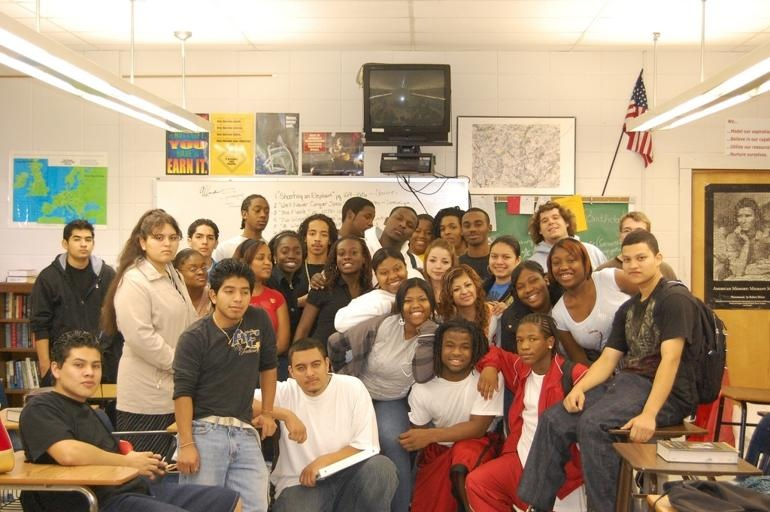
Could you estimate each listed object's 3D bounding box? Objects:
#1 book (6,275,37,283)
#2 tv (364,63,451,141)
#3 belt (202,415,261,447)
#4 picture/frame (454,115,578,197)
[{"bbox_3d":[-4.028,0.258,7.720,0.233,0.051,0.225,0,-1,1],"label":"book"},{"bbox_3d":[0.141,-1.661,7.695,1.069,0.850,0.478,-6,12,-24],"label":"tv"},{"bbox_3d":[-1.077,1.192,4.876,0.250,0.072,0.244,7,-3,1],"label":"belt"},{"bbox_3d":[1.519,-1.126,7.895,1.017,0.639,0.023,0,3,1],"label":"picture/frame"}]
